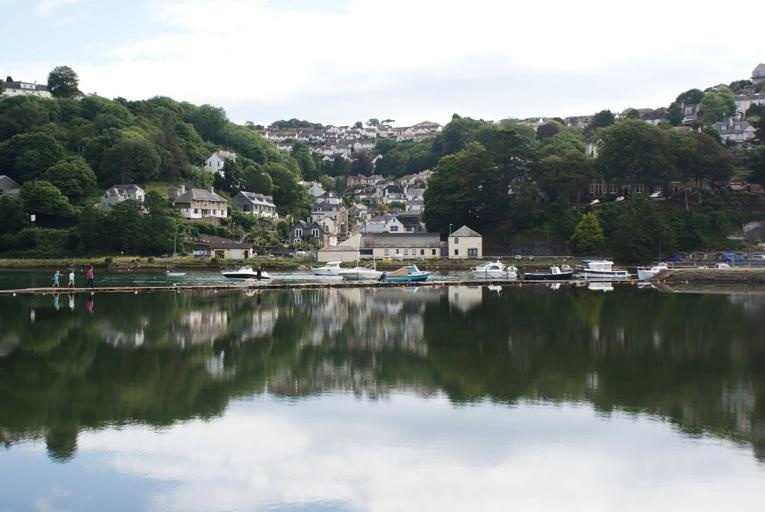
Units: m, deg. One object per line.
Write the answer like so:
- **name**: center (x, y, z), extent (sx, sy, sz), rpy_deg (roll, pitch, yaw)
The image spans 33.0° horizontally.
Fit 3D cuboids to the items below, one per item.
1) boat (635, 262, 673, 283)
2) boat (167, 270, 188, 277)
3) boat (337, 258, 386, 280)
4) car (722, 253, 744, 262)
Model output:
- **boat**: center (34.973, 2.001, 163.305), extent (6.659, 2.290, 1.910), rpy_deg (2, -6, -33)
- **boat**: center (-26.337, 2.239, 165.497), extent (2.561, 0.518, 4.790), rpy_deg (-2, 2, -4)
- **boat**: center (-2.618, 2.158, 163.224), extent (5.294, 2.368, 2.138), rpy_deg (-1, 2, 8)
- **car**: center (46.135, 0.031, 170.658), extent (2.027, 0.581, 1.390), rpy_deg (2, -1, -21)
